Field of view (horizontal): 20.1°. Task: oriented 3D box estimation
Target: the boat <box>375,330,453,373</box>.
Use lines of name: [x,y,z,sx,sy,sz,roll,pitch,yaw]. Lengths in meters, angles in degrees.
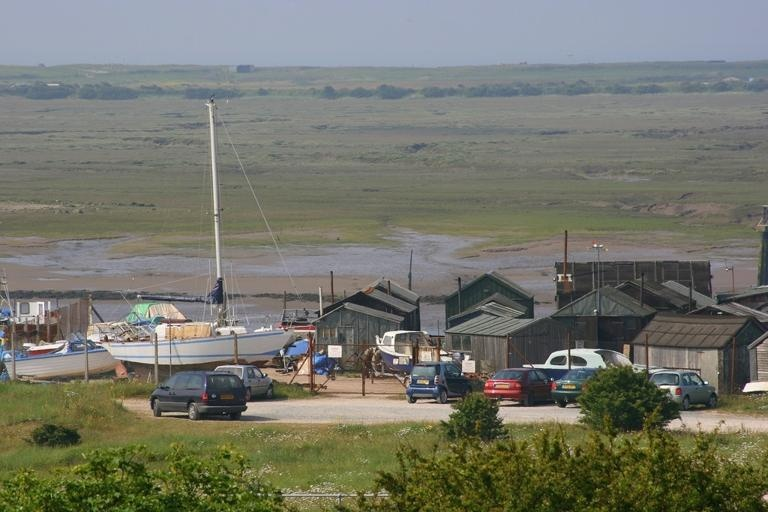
boat: [4.767,15.772,364.677,15.959,6.447,8.875,7,17,23]
